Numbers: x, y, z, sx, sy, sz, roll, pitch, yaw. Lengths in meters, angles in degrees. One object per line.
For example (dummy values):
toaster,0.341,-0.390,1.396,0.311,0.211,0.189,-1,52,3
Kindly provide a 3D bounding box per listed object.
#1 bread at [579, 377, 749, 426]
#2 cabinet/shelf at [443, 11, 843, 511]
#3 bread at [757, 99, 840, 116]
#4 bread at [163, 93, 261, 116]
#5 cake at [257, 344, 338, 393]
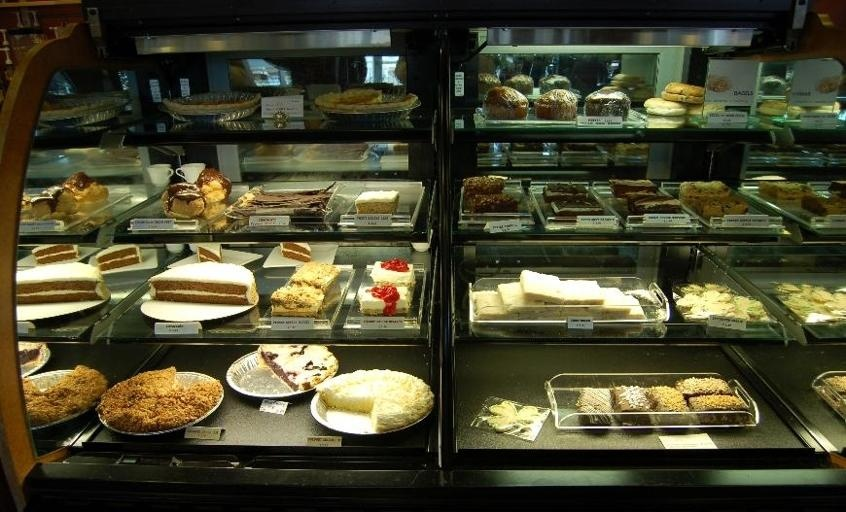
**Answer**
bread,1.291,0.796,3.270,0.809,0.070,0.289,0,24,3
cabinet/shelf,1.067,-0.045,3.184,2.032,2.284,1.807,-1,27,1
bread,1.927,-0.757,3.072,0.369,0.073,0.127,7,24,18
bread,-1.124,-0.815,3.194,0.388,0.062,0.241,-3,25,14
cake,-0.734,0.634,3.552,0.399,0.090,0.496,-12,25,-35
